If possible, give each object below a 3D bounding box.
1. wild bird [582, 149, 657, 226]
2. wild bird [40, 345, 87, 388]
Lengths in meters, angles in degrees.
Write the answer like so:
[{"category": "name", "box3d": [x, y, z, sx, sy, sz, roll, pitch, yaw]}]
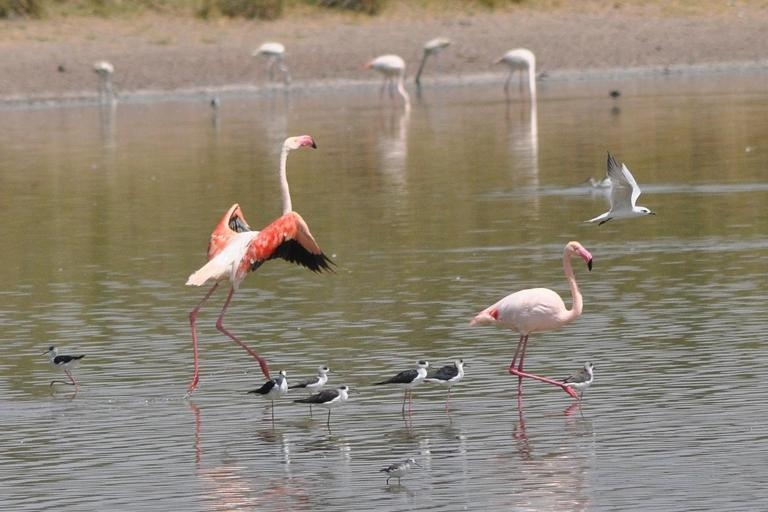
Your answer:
[{"category": "wild bird", "box3d": [4.676, -1.356, 25.761, 1.636, 1.571, 1.033, -2, 80, 19]}, {"category": "wild bird", "box3d": [-4.589, 1.592, 19.273, 0.806, 0.252, 0.540, -6, 78, 10]}]
